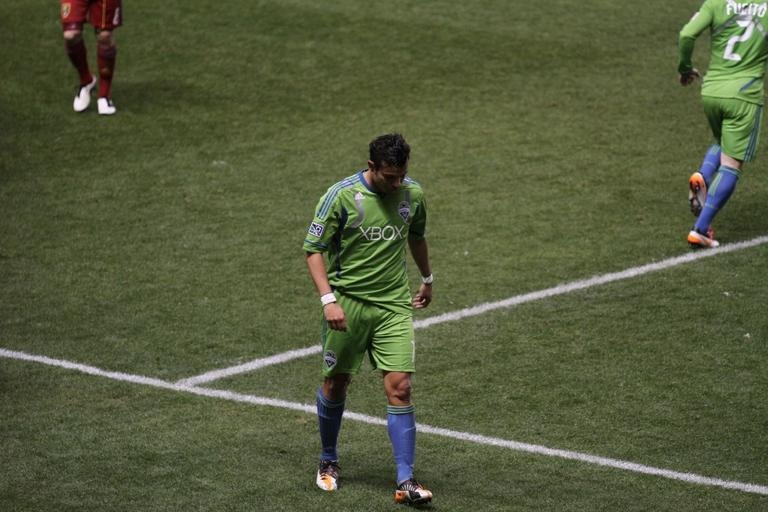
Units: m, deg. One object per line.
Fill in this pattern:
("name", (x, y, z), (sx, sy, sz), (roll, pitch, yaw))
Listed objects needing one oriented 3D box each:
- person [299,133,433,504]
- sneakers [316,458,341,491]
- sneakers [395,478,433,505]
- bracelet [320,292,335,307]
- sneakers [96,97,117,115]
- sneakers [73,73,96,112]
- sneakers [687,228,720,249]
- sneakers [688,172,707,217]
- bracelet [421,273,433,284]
("person", (-0.134, 0.438, 10.321), (1.005, 2.562, 1.536), (2, 34, 1))
("sneakers", (-0.452, 1.749, 10.415), (0.119, 0.132, 0.313), (1, 2, -7))
("sneakers", (0.234, 1.839, 10.162), (0.349, 0.151, 0.144), (-7, -11, 38))
("bracelet", (-0.455, 0.336, 10.244), (0.116, 0.082, 0.095), (-24, 2, 32))
("sneakers", (-3.117, -1.684, 14.618), (0.219, 0.145, 0.394), (-2, 5, -16))
("sneakers", (-3.377, -1.824, 14.782), (0.181, 0.473, 0.190), (17, -25, 0))
("sneakers", (3.126, -0.168, 12.866), (0.392, 0.161, 0.136), (5, 7, -40))
("sneakers", (3.090, -0.635, 12.947), (0.151, 0.398, 0.173), (1, 0, 27))
("bracelet", (0.352, 0.190, 10.746), (0.079, 0.060, 0.087), (2, -2, -29))
